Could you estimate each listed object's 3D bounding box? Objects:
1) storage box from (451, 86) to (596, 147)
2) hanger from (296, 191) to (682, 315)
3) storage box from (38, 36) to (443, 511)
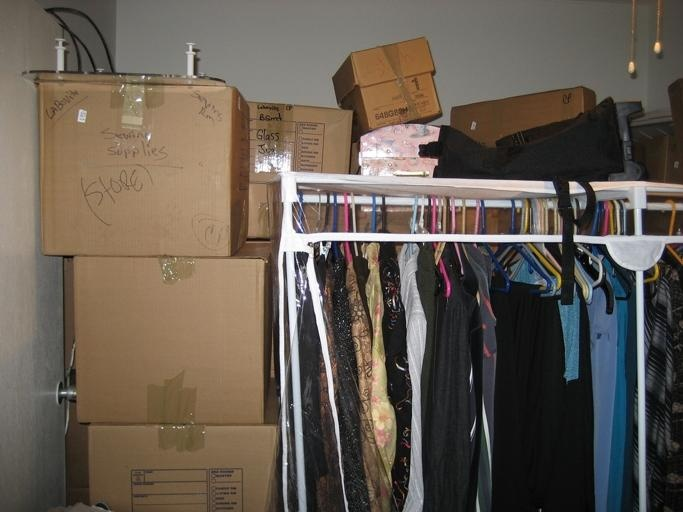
[{"bbox_3d":[0.820,-0.638,3.596,0.611,0.225,0.069,0,2,35],"label":"storage box"},{"bbox_3d":[0.529,0.030,3.076,1.546,0.688,0.634,-2,2,-5],"label":"hanger"},{"bbox_3d":[-0.571,-0.109,3.136,1.181,1.490,0.539,-2,2,-16],"label":"storage box"}]
